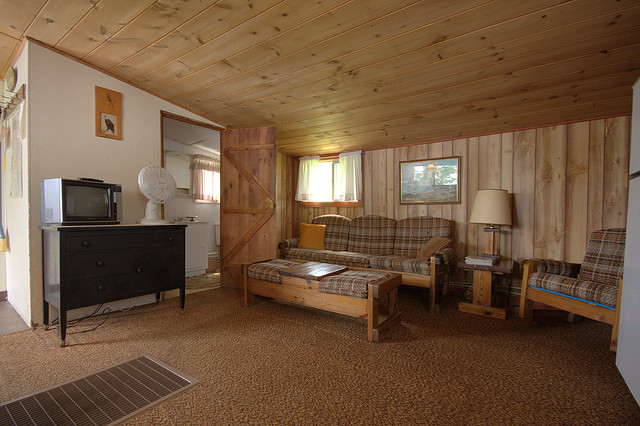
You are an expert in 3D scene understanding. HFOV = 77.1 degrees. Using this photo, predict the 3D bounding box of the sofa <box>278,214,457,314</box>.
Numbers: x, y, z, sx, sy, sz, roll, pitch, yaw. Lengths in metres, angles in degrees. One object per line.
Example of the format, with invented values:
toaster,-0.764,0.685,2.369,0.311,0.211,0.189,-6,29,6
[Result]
sofa,0.613,0.602,6.018,2.675,1.041,1.021,1,8,37

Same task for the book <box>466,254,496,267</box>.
book,1.964,0.582,4.926,0.326,0.084,0.227,5,9,28

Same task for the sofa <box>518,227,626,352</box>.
sofa,3.045,0.729,4.541,1.299,1.064,0.984,5,1,-38

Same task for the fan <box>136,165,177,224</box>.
fan,-2.049,-0.210,4.892,0.463,0.687,0.499,-9,-9,37

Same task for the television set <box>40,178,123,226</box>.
television set,-2.591,0.017,4.355,0.551,0.480,0.756,-3,-5,35
